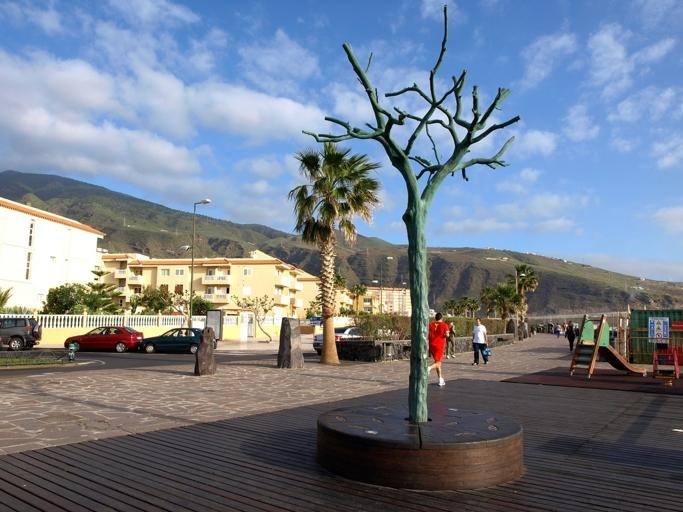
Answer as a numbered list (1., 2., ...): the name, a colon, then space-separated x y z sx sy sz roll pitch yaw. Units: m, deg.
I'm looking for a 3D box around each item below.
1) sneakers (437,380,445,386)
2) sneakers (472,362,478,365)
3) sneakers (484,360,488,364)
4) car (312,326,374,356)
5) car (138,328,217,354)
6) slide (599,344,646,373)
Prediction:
1. sneakers: 2.929 3.701 13.946 0.140 0.200 0.203 -13 -23 38
2. sneakers: 6.024 4.794 21.320 0.130 0.133 0.312 -7 -13 1
3. sneakers: 6.767 4.896 22.051 0.116 0.140 0.327 -8 -23 14
4. car: -0.392 4.836 27.298 1.431 1.074 3.225 -4 -5 33
5. car: -10.389 5.183 29.393 3.644 1.504 1.037 -2 -6 14
6. slide: 10.308 3.734 17.392 1.327 1.133 2.591 -4 -8 32
